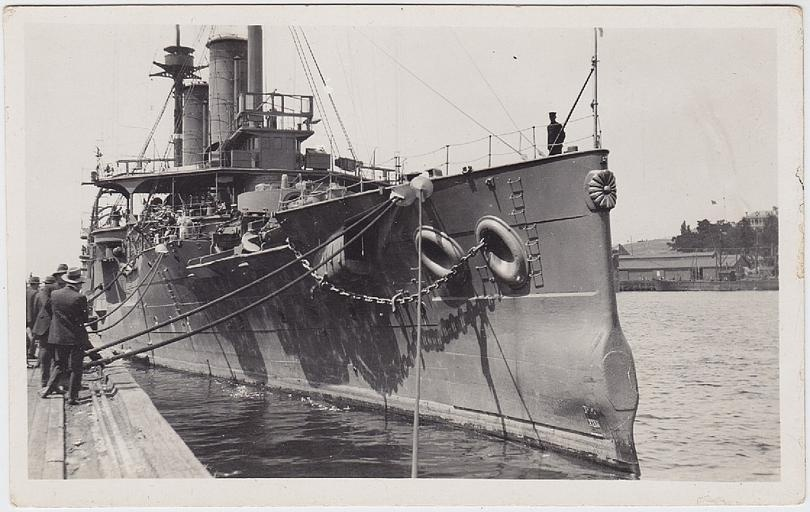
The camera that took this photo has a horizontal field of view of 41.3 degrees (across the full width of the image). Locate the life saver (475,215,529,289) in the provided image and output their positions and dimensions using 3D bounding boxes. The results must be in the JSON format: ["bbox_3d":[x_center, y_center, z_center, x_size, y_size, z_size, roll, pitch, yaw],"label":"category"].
[{"bbox_3d":[1.476,-0.061,15.753,0.371,0.998,0.851,-27,-20,-33],"label":"life saver"}]

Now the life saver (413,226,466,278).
[{"bbox_3d":[0.567,-0.051,16.247,0.717,0.792,0.228,1,1,36],"label":"life saver"}]
